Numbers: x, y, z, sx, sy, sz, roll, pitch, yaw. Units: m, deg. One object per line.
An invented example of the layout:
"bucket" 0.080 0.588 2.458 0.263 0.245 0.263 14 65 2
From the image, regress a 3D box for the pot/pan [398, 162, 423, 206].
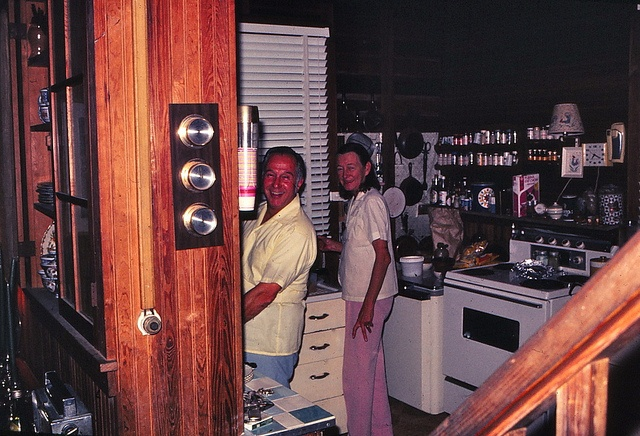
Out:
"pot/pan" 1.015 -0.365 6.218 0.288 0.442 0.066 -2 -3 -28

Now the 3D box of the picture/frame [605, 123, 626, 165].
"picture/frame" 2.448 -0.612 4.620 0.145 0.345 0.080 4 7 28

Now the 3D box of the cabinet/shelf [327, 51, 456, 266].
"cabinet/shelf" 1.105 -0.633 5.850 0.721 2.145 0.256 -10 12 -9

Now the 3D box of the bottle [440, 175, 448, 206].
"bottle" 1.331 -0.289 6.028 0.085 0.283 0.464 2 6 12

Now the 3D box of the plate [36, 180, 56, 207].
"plate" -1.642 -0.143 3.340 0.155 0.148 0.151 -4 14 -37

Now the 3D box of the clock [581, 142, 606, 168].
"clock" 2.321 -0.537 4.723 0.077 0.204 0.212 -1 4 -32

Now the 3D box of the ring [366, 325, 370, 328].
"ring" 0.310 0.708 3.654 0.018 0.006 0.025 0 4 5

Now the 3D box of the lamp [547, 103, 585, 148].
"lamp" 2.093 -0.775 4.749 0.319 0.360 0.320 1 2 -1

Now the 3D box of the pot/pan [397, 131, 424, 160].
"pot/pan" 1.002 -0.813 6.165 0.310 0.302 0.107 4 -2 -27

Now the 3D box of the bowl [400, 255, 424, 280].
"bowl" 0.765 0.399 4.637 0.213 0.163 0.174 0 6 -3

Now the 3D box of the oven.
"oven" 1.320 0.982 4.259 0.773 1.015 0.688 3 -1 26

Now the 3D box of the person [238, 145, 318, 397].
"person" -0.222 0.268 2.996 0.388 1.298 0.581 0 6 -8
